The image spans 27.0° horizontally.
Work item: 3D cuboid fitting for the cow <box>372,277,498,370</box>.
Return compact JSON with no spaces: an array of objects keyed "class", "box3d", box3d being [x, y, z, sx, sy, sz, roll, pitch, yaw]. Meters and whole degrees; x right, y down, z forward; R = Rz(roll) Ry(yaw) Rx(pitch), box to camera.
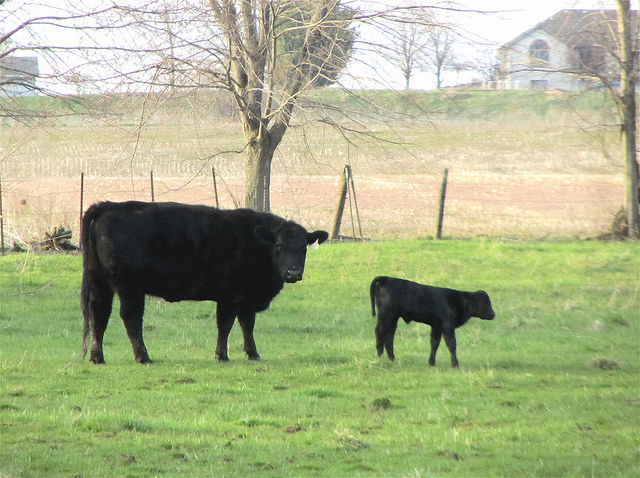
[{"class":"cow","box3d":[2.647,1.977,33.293,4.024,2.622,1.484,1,4,7]}]
